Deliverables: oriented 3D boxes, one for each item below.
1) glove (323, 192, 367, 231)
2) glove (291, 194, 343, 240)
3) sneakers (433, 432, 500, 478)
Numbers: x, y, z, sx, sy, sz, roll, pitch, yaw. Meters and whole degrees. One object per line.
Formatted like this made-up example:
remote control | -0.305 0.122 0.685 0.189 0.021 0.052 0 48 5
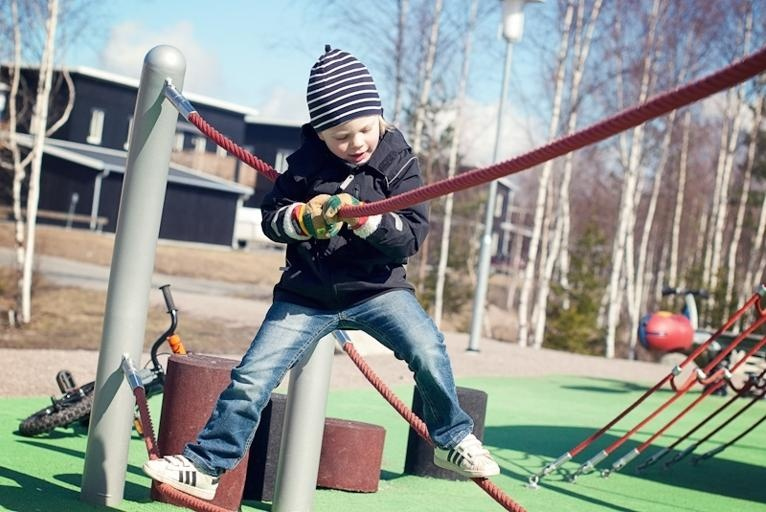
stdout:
glove | -0.249 -0.316 7.237 0.302 0.237 0.194 8 -1 -10
glove | -0.441 -0.285 7.304 0.305 0.265 0.313 -9 9 -27
sneakers | 0.579 1.366 7.586 0.502 0.278 0.230 1 -1 31
